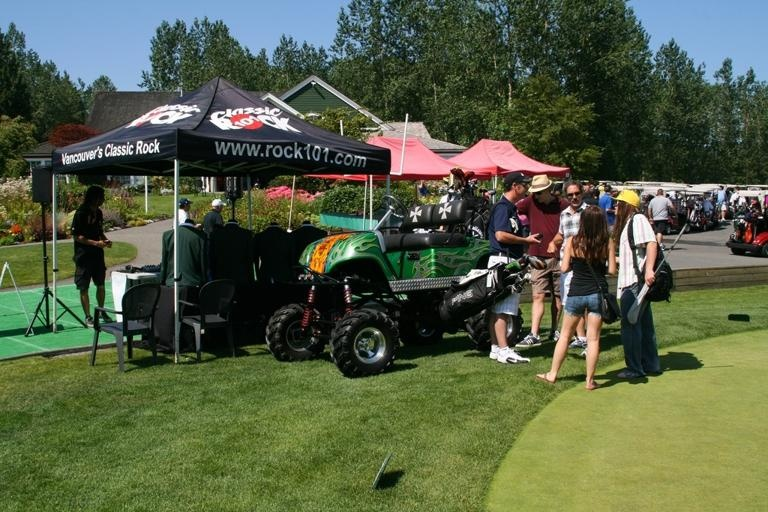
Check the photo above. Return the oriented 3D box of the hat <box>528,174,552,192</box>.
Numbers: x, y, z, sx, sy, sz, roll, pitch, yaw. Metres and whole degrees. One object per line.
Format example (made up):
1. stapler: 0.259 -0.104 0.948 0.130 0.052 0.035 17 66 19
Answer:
1. hat: 2.460 -1.128 10.259 0.337 0.291 0.370 2 10 14

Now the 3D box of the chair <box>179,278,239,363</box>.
1. chair: -2.795 0.927 10.176 0.843 1.250 0.855 2 5 -36

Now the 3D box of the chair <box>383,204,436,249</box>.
1. chair: 0.350 -0.406 9.675 0.794 0.753 0.559 0 -1 -36

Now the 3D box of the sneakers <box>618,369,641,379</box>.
1. sneakers: 3.373 1.621 8.956 0.289 0.140 0.126 3 0 17

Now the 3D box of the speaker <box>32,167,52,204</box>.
1. speaker: -6.238 -1.266 11.839 0.341 0.701 0.589 -6 11 -29

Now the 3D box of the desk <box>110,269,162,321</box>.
1. desk: -4.625 0.626 11.483 0.537 0.742 0.750 15 -8 3

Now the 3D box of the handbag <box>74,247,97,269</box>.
1. handbag: -5.409 0.020 11.771 0.353 0.344 0.359 -1 8 -16

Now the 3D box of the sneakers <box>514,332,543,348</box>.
1. sneakers: 2.260 1.328 10.225 0.532 0.251 0.194 -1 1 -30

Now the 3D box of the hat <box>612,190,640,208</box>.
1. hat: 3.312 -0.789 8.908 0.335 0.181 0.262 25 18 22

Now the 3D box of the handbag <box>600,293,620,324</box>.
1. handbag: 2.895 0.666 8.359 0.204 0.387 0.371 -9 2 12

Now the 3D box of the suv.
1. suv: 0.176 0.352 10.287 3.595 2.482 2.294 -5 1 -37

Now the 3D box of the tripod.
1. tripod: -6.371 0.702 12.247 1.189 1.364 1.219 -7 -10 2

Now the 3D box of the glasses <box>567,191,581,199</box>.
1. glasses: 2.897 -0.934 10.041 0.133 0.124 0.294 -4 10 -20

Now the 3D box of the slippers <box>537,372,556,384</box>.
1. slippers: 2.203 1.659 8.816 0.097 0.121 0.293 -1 12 -29

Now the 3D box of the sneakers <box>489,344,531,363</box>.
1. sneakers: 1.842 1.440 9.727 0.648 0.295 0.230 1 2 8

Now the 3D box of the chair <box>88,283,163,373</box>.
1. chair: -3.891 0.994 9.839 0.943 1.337 0.816 4 3 26

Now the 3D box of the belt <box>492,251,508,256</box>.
1. belt: 1.653 -0.026 9.404 0.151 0.060 0.049 2 10 13

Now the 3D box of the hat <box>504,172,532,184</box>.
1. hat: 1.953 -1.145 9.576 0.291 0.120 0.218 -4 9 -9

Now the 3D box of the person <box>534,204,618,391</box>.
1. person: 2.560 0.571 8.473 0.670 2.390 0.401 2 9 17
